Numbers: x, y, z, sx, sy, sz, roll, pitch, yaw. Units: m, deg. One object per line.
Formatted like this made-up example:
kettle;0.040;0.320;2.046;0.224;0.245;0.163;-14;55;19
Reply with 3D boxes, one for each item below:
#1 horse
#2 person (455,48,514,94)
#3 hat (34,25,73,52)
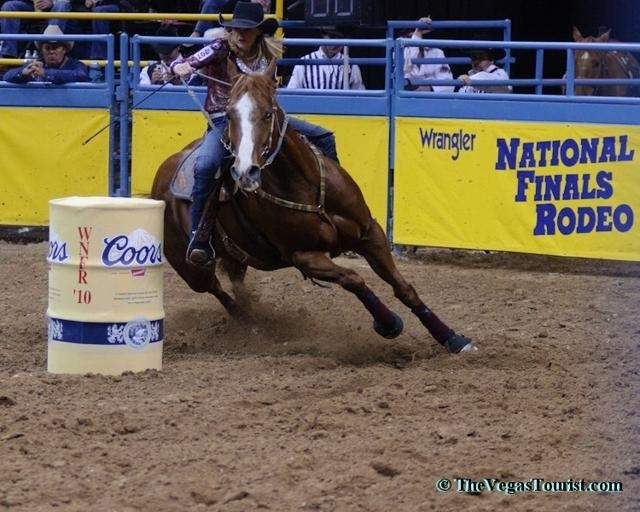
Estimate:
horse;-0.094;-0.474;9.418;2.100;2.537;2.222;-6;12;-24
person;2.058;-2.367;13.207;0.626;0.632;0.776;-11;-6;19
hat;-3.389;-2.799;13.369;0.520;0.502;0.176;0;-27;-8
